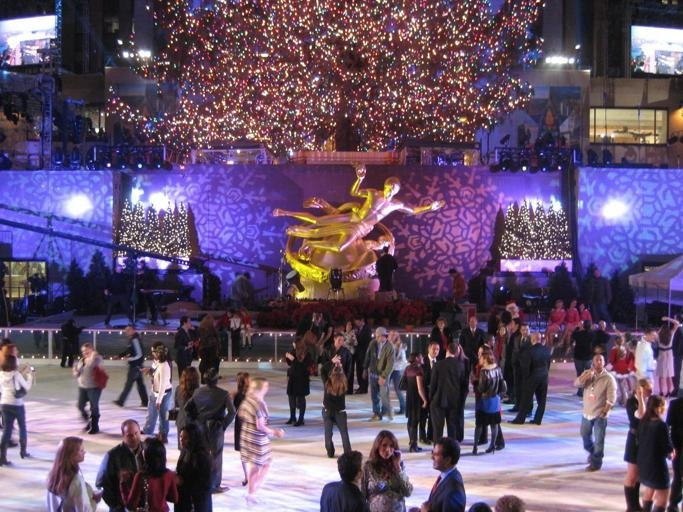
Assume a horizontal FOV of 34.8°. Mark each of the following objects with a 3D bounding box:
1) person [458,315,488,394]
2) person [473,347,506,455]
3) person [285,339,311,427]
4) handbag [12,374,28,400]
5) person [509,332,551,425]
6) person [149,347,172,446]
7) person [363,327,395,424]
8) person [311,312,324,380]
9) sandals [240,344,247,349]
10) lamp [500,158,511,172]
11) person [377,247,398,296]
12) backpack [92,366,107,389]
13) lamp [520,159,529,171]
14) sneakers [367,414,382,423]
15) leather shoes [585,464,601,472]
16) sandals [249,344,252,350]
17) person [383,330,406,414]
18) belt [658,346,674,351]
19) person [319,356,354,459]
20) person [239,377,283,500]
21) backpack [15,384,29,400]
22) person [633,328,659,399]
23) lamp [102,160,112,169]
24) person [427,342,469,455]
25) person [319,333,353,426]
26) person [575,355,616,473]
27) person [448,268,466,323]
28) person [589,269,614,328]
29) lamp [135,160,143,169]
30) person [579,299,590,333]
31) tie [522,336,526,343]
[{"bbox_3d":[3.316,2.423,27.983,0.685,1.985,0.474,-7,34,-6],"label":"person"},{"bbox_3d":[3.338,3.292,24.955,0.744,2.547,0.743,-6,19,-13],"label":"person"},{"bbox_3d":[-1.024,3.026,26.046,0.605,2.107,0.491,1,1,13],"label":"person"},{"bbox_3d":[-7.172,2.898,24.419,0.332,0.650,0.382,0,1,-19],"label":"handbag"},{"bbox_3d":[4.607,2.946,26.311,0.786,2.277,1.326,1,1,11],"label":"person"},{"bbox_3d":[-4.153,3.160,25.153,0.461,2.293,0.401,0,1,-11],"label":"person"},{"bbox_3d":[0.928,2.864,26.660,0.628,2.255,0.994,0,1,-24],"label":"person"},{"bbox_3d":[-0.608,2.485,29.530,0.454,1.920,0.440,-2,26,-4],"label":"person"},{"bbox_3d":[-2.741,2.562,30.806,0.175,0.118,0.038,1,1,16],"label":"sandals"},{"bbox_3d":[5.888,-3.268,39.160,0.315,0.376,0.394,8,11,8],"label":"lamp"},{"bbox_3d":[1.457,0.449,35.740,0.651,1.548,1.300,1,0,2],"label":"person"},{"bbox_3d":[-5.564,2.803,25.265,0.309,0.511,0.179,-5,9,28],"label":"backpack"},{"bbox_3d":[6.542,-3.244,39.063,0.229,0.385,0.107,2,0,8],"label":"lamp"},{"bbox_3d":[0.814,3.966,26.472,0.248,0.182,0.149,2,-6,11],"label":"sneakers"},{"bbox_3d":[5.547,4.684,24.017,0.290,0.149,0.151,4,-5,-10],"label":"leather shoes"},{"bbox_3d":[-2.554,2.566,30.756,0.103,0.225,0.113,2,-10,-2],"label":"sandals"},{"bbox_3d":[1.329,2.764,26.902,0.633,1.999,0.639,-11,21,-26],"label":"person"},{"bbox_3d":[8.289,2.400,27.912,0.374,0.139,0.347,1,0,10],"label":"belt"},{"bbox_3d":[-0.091,3.385,24.424,0.627,2.385,0.660,4,23,8],"label":"person"},{"bbox_3d":[-1.732,3.983,23.309,0.817,2.686,0.860,1,0,-19],"label":"person"},{"bbox_3d":[-7.140,3.070,24.349,0.236,0.197,0.246,0,5,35],"label":"backpack"},{"bbox_3d":[7.296,2.599,26.118,0.564,2.563,0.997,-2,14,12],"label":"person"},{"bbox_3d":[-8.319,-3.244,38.878,0.276,0.194,0.307,1,0,-5],"label":"lamp"},{"bbox_3d":[2.388,3.086,24.679,0.797,2.200,0.404,1,1,2],"label":"person"},{"bbox_3d":[-0.146,3.199,26.615,0.699,2.766,0.755,2,25,-4],"label":"person"},{"bbox_3d":[5.629,3.458,24.123,0.827,2.565,0.515,1,1,18],"label":"person"},{"bbox_3d":[3.487,1.183,32.997,0.494,1.678,0.531,1,14,5],"label":"person"},{"bbox_3d":[8.602,1.391,36.322,0.754,1.997,0.509,-2,33,17],"label":"person"},{"bbox_3d":[-7.230,-3.268,39.049,0.235,0.195,0.049,1,1,-5],"label":"lamp"},{"bbox_3d":[6.884,1.720,30.910,0.281,1.102,0.397,11,-20,-20],"label":"person"},{"bbox_3d":[4.415,2.043,26.417,0.095,0.109,0.103,1,-5,-3],"label":"tie"}]
